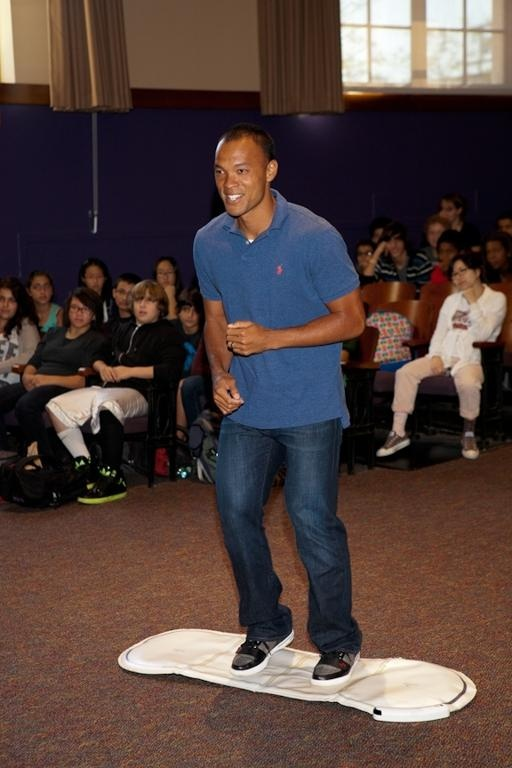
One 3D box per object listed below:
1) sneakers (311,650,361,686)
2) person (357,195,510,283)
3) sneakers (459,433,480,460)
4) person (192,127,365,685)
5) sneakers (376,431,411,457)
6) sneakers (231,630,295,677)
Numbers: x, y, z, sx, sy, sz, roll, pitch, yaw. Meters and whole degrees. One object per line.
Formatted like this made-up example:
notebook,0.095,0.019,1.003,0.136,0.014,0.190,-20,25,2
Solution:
sneakers,0.180,0.668,1.503,0.048,0.048,0.128,-5,-5,28
person,1.597,-1.401,6.280,0.927,0.454,1.274,2,8,26
sneakers,1.481,0.431,4.424,0.092,0.088,0.237,0,16,6
person,0.056,0.074,1.521,0.387,1.294,0.388,-1,2,-5
sneakers,0.984,0.433,4.610,0.346,0.139,0.116,-17,13,-43
sneakers,0.020,0.679,1.654,0.064,0.065,0.173,9,16,40
